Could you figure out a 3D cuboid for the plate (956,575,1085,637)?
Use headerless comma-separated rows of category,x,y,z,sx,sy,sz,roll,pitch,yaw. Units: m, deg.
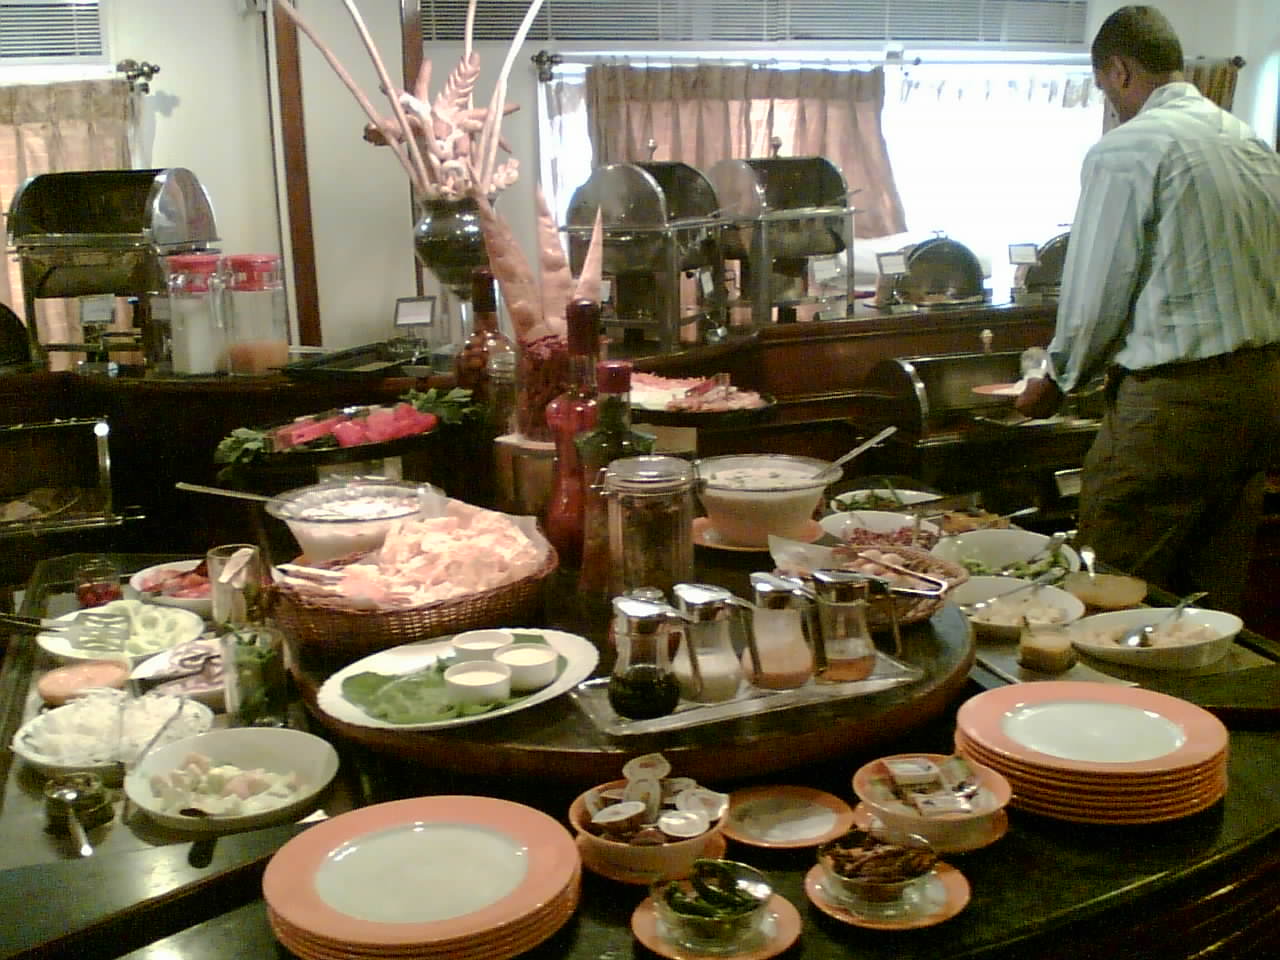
plate,0.802,0.273,2.188,0.260,0.067,0.318,4,15,29

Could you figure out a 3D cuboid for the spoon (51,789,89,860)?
spoon,-0.856,0.522,1.536,0.034,0.027,0.192,-25,38,-15

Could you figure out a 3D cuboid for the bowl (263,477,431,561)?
bowl,-0.601,0.095,2.244,0.358,0.098,0.329,-5,-10,-1

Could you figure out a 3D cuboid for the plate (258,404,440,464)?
plate,-0.840,-0.155,3.029,0.478,0.115,0.296,-6,13,-10

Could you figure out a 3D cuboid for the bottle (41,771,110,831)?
bottle,-0.869,0.498,1.579,0.081,0.052,0.083,1,0,0

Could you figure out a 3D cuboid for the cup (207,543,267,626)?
cup,-0.764,0.208,1.948,0.102,0.143,0.185,-11,15,-21

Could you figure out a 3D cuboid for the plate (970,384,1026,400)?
plate,1.580,-0.387,4.497,0.168,0.023,0.153,-6,13,-26

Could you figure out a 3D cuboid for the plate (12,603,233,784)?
plate,-0.936,0.370,1.859,0.254,0.048,0.352,2,17,-9

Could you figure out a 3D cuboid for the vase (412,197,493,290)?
vase,-0.713,-0.891,3.960,0.207,0.382,0.346,-17,19,-39

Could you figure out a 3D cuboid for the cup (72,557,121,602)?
cup,-1.260,0.225,2.369,0.109,0.101,0.106,1,7,0
